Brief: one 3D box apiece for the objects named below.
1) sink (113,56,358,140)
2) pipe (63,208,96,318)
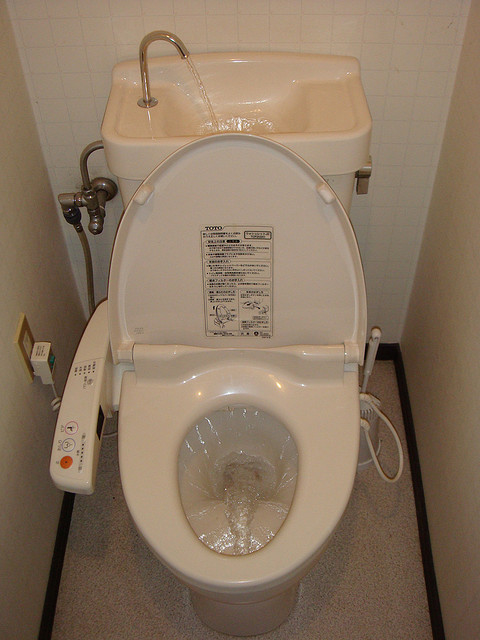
[{"bbox_3d":[-0.006,-0.394,0.898,0.436,0.119,0.219,-1,46,-1],"label":"sink"},{"bbox_3d":[-0.360,-0.132,1.211,0.081,0.282,0.096,-17,63,-22],"label":"pipe"}]
